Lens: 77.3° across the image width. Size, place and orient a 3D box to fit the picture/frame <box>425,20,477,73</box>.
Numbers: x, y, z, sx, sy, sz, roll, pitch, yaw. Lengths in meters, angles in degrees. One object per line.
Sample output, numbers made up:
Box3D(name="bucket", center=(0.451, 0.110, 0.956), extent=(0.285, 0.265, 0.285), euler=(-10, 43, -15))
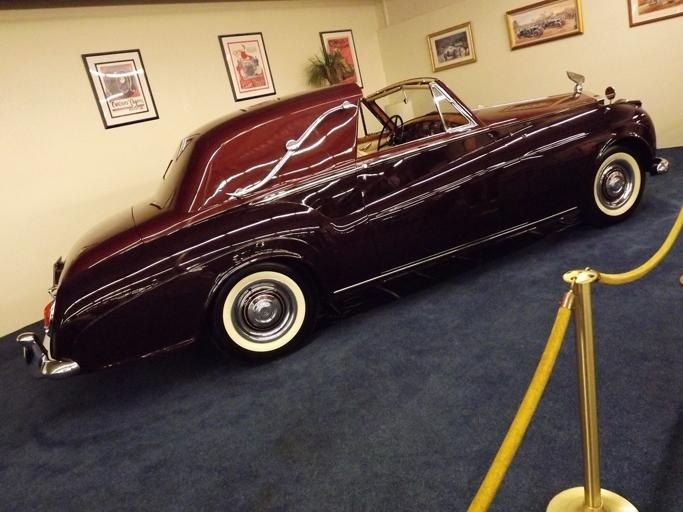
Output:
Box3D(name="picture/frame", center=(1.958, -3.749, 7.536), extent=(1.106, 0.826, 0.042), euler=(-2, 25, 46))

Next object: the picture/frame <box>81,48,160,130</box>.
Box3D(name="picture/frame", center=(-2.915, -2.195, 5.558), extent=(0.909, 1.061, 0.036), euler=(-28, 21, -36))
